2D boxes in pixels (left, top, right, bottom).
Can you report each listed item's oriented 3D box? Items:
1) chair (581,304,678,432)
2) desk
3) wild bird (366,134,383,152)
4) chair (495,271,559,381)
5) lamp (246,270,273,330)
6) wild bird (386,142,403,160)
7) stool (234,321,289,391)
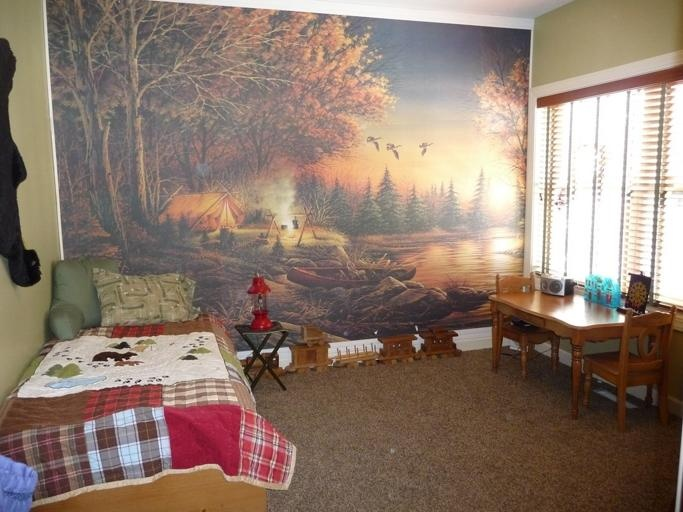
[{"bbox_3d":[2.434,0.866,4.200,0.547,0.967,0.511,-6,15,-18],"label":"chair"},{"bbox_3d":[2.159,0.845,4.914,0.905,0.752,1.488,-4,6,-11],"label":"desk"},{"bbox_3d":[0.365,-1.250,5.482,0.082,0.133,0.211,14,-19,43],"label":"wild bird"},{"bbox_3d":[1.943,0.663,5.213,0.522,0.877,0.550,-3,9,-12],"label":"chair"},{"bbox_3d":[-0.834,0.450,4.907,0.237,0.516,0.231,-2,-3,0],"label":"lamp"},{"bbox_3d":[0.583,-1.176,5.544,0.082,0.218,0.139,-1,-19,-27],"label":"wild bird"},{"bbox_3d":[-0.795,0.956,5.027,0.679,0.816,0.607,1,-1,-11],"label":"stool"}]
